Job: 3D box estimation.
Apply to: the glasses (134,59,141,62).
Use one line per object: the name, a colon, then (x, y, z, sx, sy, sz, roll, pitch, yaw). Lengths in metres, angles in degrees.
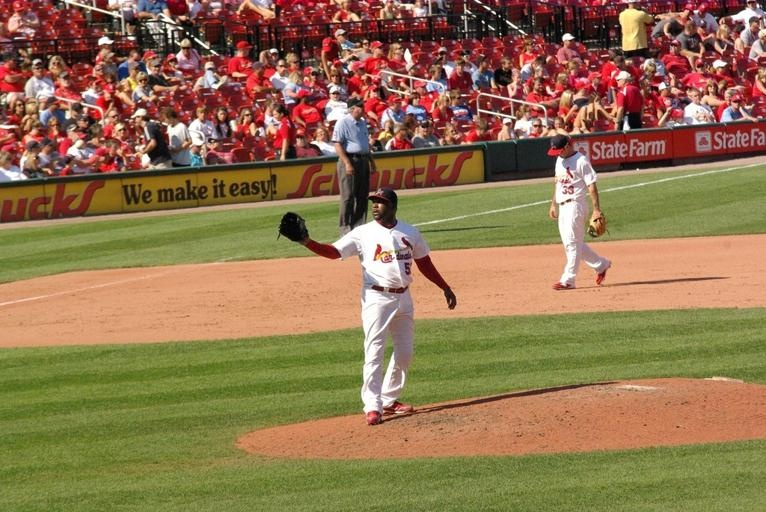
glasses: (-5.923, -4.705, 38.926, 0.134, 0.084, 0.127, 3, 8, 10)

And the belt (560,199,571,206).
belt: (3.418, -1.015, 30.178, 0.060, 0.092, 0.249, 25, -14, -26)

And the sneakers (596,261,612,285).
sneakers: (4.187, 0.324, 30.617, 0.263, 0.561, 0.202, 4, 52, 3)

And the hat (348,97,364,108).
hat: (-0.535, -2.998, 31.626, 0.316, 0.140, 0.187, -9, 31, 30)

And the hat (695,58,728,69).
hat: (8.790, -5.148, 43.274, 0.730, 0.151, 0.422, 3, 3, 37)

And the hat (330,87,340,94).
hat: (-1.080, -3.768, 36.482, 0.289, 0.122, 0.447, 2, 1, -2)

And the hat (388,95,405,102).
hat: (0.284, -3.865, 39.784, 0.257, 0.121, 0.374, 3, 7, 36)

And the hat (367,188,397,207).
hat: (0.004, -0.953, 26.179, 0.420, 0.194, 0.291, 16, -4, -13)

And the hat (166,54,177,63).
hat: (-5.305, -4.962, 40.457, 0.265, 0.187, 0.367, -4, 5, -22)

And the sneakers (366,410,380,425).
sneakers: (-0.157, 2.594, 26.119, 0.221, 0.180, 0.400, -1, -7, 3)

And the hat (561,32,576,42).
hat: (5.032, -5.919, 43.825, 0.322, 0.216, 0.428, -6, 7, -21)

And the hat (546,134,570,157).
hat: (3.298, -2.069, 30.214, 0.359, 0.420, 0.387, 0, 9, 6)

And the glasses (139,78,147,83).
glasses: (-5.664, -4.151, 38.178, 0.178, 0.183, 0.254, -2, 9, -8)

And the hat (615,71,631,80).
hat: (5.686, -4.287, 38.432, 0.299, 0.150, 0.226, 14, 20, 29)

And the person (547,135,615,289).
person: (3.677, -0.838, 30.427, 1.084, 2.902, 0.795, 0, 10, 6)

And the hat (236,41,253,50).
hat: (-3.440, -5.295, 40.765, 0.361, 0.180, 0.259, -16, 23, -23)

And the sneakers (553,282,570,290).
sneakers: (3.347, 0.569, 30.410, 0.337, 0.132, 0.126, 3, 1, -5)

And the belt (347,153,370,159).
belt: (-0.431, -1.956, 31.789, 0.520, 0.147, 0.122, -7, 11, -37)

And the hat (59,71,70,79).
hat: (-7.440, -4.225, 37.923, 0.209, 0.174, 0.258, 0, 9, 3)

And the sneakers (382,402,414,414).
sneakers: (0.241, 2.483, 26.495, 0.474, 0.178, 0.194, -3, 2, 7)

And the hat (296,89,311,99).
hat: (-1.880, -3.860, 38.515, 0.299, 0.218, 0.767, -1, 9, -5)

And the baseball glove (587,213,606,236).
baseball glove: (4.051, -0.586, 30.609, 0.353, 0.395, 0.318, 16, 2, -27)

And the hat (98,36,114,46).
hat: (-6.780, -5.242, 39.384, 0.307, 0.192, 0.397, -4, -4, -34)

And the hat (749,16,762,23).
hat: (10.499, -6.697, 45.688, 0.265, 0.111, 0.408, 5, 9, 23)

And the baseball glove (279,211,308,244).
baseball glove: (-1.433, -0.467, 25.752, 0.421, 0.491, 0.206, -10, -2, -2)
